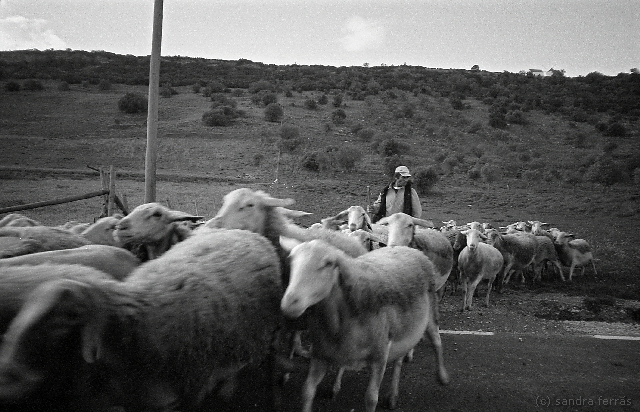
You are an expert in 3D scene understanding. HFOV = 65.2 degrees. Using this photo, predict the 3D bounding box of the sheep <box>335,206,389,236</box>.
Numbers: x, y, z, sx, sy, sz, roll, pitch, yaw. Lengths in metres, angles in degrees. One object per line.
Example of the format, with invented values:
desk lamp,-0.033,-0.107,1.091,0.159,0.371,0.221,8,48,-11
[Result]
sheep,1.020,0.351,11.795,0.727,0.463,1.066,-6,-5,17

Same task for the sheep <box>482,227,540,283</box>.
sheep,6.622,1.766,17.408,3.326,1.768,1.133,3,3,-35

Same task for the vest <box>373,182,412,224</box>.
vest,2.087,-0.043,12.641,0.709,1.052,1.229,13,-18,-43

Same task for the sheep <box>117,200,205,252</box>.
sheep,-2.681,0.321,8.398,1.127,0.546,0.927,-3,-13,-42

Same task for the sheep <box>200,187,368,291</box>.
sheep,-0.781,0.849,9.649,1.597,2.102,4.331,-10,-12,23

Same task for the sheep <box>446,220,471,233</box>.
sheep,5.222,0.753,18.809,1.061,0.496,0.599,3,-4,-5

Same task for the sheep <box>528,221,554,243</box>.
sheep,9.404,1.059,21.242,0.851,0.665,1.401,-7,-28,35

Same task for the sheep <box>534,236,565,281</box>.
sheep,8.228,1.875,18.189,1.364,1.480,0.552,0,11,-17

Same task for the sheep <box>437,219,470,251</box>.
sheep,4.401,0.932,16.530,0.554,0.722,0.903,4,22,-39

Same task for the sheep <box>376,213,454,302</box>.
sheep,2.114,0.894,11.149,1.142,1.553,2.930,-7,-12,34
